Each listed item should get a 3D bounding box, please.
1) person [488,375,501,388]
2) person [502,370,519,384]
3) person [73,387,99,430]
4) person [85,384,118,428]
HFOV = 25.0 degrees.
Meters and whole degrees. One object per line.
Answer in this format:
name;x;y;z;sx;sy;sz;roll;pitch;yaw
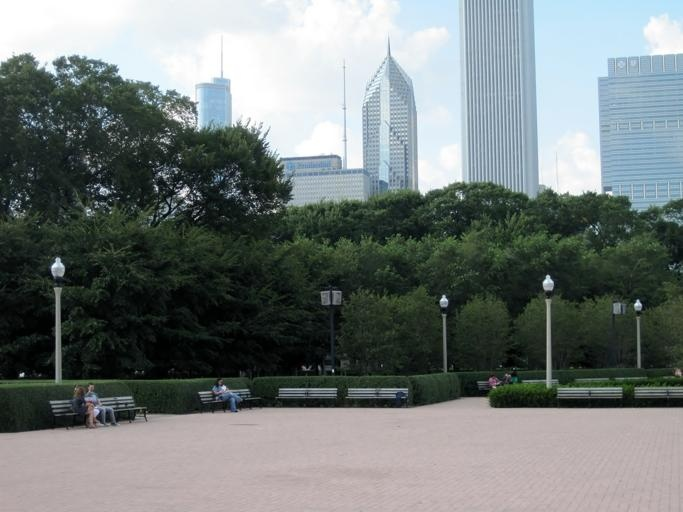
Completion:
person;9.461;7.721;95.795;0.538;0.920;0.385;-3;-39;11
person;10.374;7.391;94.975;0.779;0.737;1.149;2;-6;-16
person;-13.317;7.701;79.859;1.250;2.225;0.834;-2;-5;-10
person;-12.589;7.816;80.537;0.832;0.970;1.996;6;-8;19
